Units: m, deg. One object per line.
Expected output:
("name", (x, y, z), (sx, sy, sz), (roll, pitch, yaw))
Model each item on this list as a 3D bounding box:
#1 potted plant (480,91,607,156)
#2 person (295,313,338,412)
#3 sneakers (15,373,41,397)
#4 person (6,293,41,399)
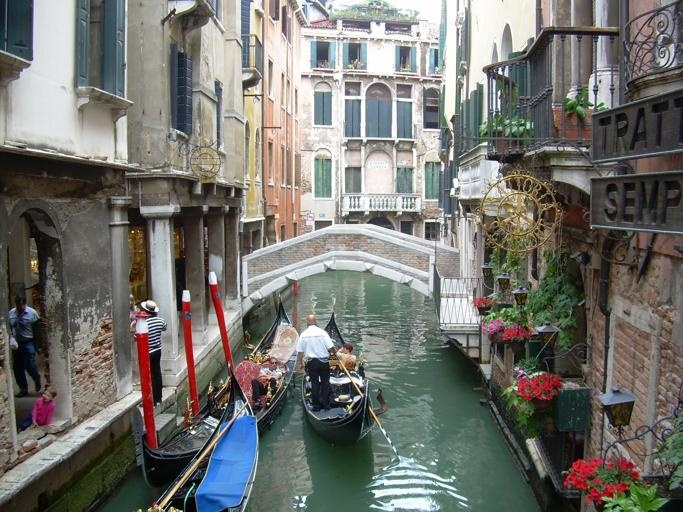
("potted plant", (2.402, -1.609, 7.731), (0.830, 0.808, 1.711), (-6, 8, -28))
("person", (-0.440, 1.875, 11.352), (0.600, 1.815, 0.527), (-6, 18, -6))
("sneakers", (-5.060, 2.083, 10.218), (0.184, 0.396, 0.274), (7, 21, -7))
("person", (-5.005, 1.414, 10.079), (0.433, 1.595, 0.451), (-6, 7, -30))
